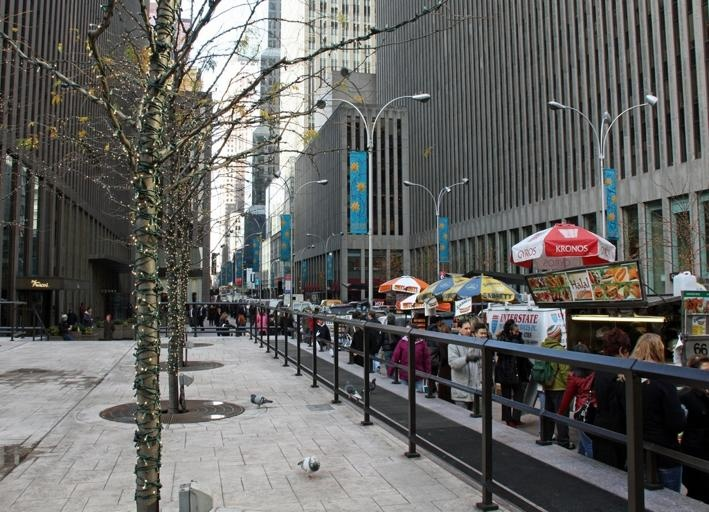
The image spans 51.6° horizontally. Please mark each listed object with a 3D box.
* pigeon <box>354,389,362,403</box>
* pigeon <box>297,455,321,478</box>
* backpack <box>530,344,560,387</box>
[{"bbox_3d":[0.053,2.517,13.165,0.160,0.137,0.553,2,-15,-8],"label":"pigeon"},{"bbox_3d":[-0.632,2.833,9.900,0.316,0.161,0.246,-2,-21,36],"label":"pigeon"},{"bbox_3d":[2.367,1.440,9.239,0.192,0.335,0.223,18,-13,-37],"label":"backpack"}]
